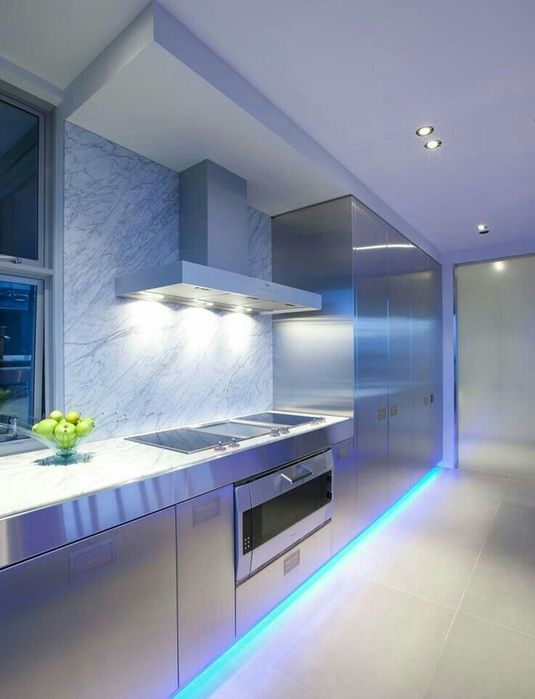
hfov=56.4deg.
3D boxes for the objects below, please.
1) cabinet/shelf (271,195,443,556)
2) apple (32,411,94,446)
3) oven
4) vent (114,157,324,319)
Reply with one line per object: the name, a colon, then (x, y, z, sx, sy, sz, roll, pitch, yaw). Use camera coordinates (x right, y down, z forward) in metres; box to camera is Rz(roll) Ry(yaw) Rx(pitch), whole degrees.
cabinet/shelf: (0.849, 0.265, 4.109, 0.637, 2.211, 2.197, 0, -2, 31)
apple: (-0.727, 0.287, 1.762, 0.206, 0.125, 0.107, 0, 2, 3)
oven: (-0.030, 0.731, 2.430, 0.445, 0.423, 0.686, 2, 8, 40)
vent: (-0.229, -0.569, 2.527, 0.501, 0.736, 1.139, 1, 3, 33)
